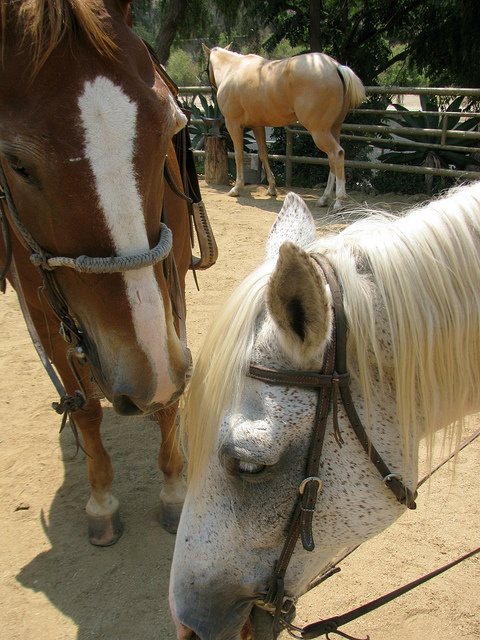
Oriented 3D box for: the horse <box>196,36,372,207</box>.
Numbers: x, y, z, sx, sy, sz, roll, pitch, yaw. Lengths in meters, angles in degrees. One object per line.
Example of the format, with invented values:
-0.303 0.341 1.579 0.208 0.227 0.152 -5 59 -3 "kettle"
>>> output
0.358 -2.380 8.572 0.782 1.979 3.112 -13 23 -37 "horse"
